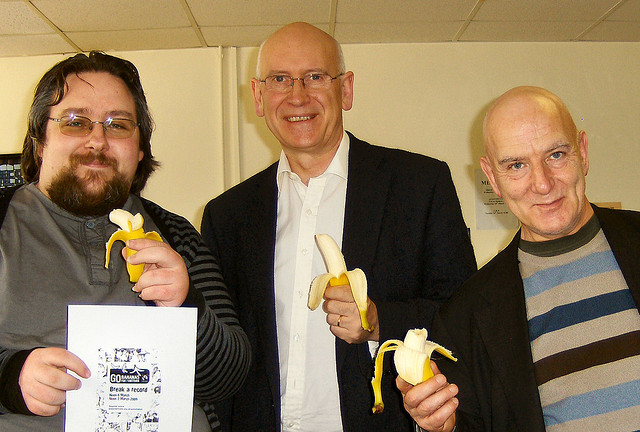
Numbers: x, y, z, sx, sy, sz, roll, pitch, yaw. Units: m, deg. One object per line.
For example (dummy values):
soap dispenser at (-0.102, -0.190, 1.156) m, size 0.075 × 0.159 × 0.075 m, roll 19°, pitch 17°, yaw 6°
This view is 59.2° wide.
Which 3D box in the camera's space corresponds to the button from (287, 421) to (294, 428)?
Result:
button at (-0.142, 1.000, 2.699) m, size 0.025 × 0.025 × 0.006 m, roll 12°, pitch 7°, yaw 12°

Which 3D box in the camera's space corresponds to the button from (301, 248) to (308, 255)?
button at (-0.075, 0.178, 2.797) m, size 0.029 × 0.026 × 0.005 m, roll -6°, pitch -19°, yaw 7°

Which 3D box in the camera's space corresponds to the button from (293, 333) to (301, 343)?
button at (-0.110, 0.592, 2.728) m, size 0.036 × 0.042 × 0.008 m, roll -11°, pitch -20°, yaw 20°

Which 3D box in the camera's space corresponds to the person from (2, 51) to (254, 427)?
person at (-0.932, 0.071, 2.578) m, size 1.033 × 1.729 × 0.612 m, roll -4°, pitch -19°, yaw 2°

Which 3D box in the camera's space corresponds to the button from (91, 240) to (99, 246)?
button at (-1.023, 0.124, 2.566) m, size 0.033 × 0.025 × 0.007 m, roll 4°, pitch -20°, yaw -20°

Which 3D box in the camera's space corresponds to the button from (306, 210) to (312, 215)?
button at (-0.053, -0.020, 2.838) m, size 0.025 × 0.023 × 0.005 m, roll -4°, pitch -19°, yaw 2°

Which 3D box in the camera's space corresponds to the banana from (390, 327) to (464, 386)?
banana at (0.455, 0.608, 2.433) m, size 0.231 × 0.238 × 0.403 m, roll -9°, pitch -21°, yaw 14°

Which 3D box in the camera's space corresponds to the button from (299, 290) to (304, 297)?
button at (-0.090, 0.381, 2.759) m, size 0.023 × 0.032 × 0.006 m, roll -4°, pitch -19°, yaw 1°

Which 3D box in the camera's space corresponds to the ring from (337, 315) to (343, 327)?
ring at (0.084, 0.457, 2.491) m, size 0.012 × 0.035 × 0.034 m, roll 11°, pitch -61°, yaw -3°
